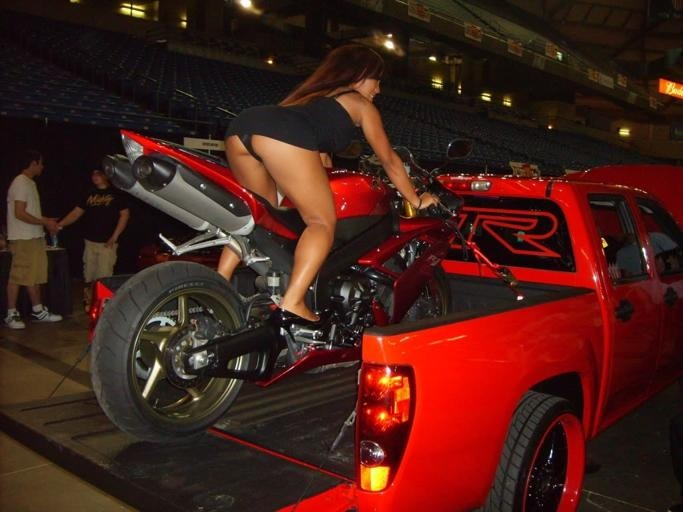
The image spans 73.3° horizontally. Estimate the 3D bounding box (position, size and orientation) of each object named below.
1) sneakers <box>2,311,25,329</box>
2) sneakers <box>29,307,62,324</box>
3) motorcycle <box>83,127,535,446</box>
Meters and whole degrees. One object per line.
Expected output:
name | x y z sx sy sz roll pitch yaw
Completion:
sneakers | -4.810 0.944 6.737 0.478 0.183 0.176 4 6 35
sneakers | -4.639 0.932 7.193 0.538 0.224 0.184 0 9 -23
motorcycle | -0.279 0.002 3.452 3.135 1.669 1.386 -12 8 -41
